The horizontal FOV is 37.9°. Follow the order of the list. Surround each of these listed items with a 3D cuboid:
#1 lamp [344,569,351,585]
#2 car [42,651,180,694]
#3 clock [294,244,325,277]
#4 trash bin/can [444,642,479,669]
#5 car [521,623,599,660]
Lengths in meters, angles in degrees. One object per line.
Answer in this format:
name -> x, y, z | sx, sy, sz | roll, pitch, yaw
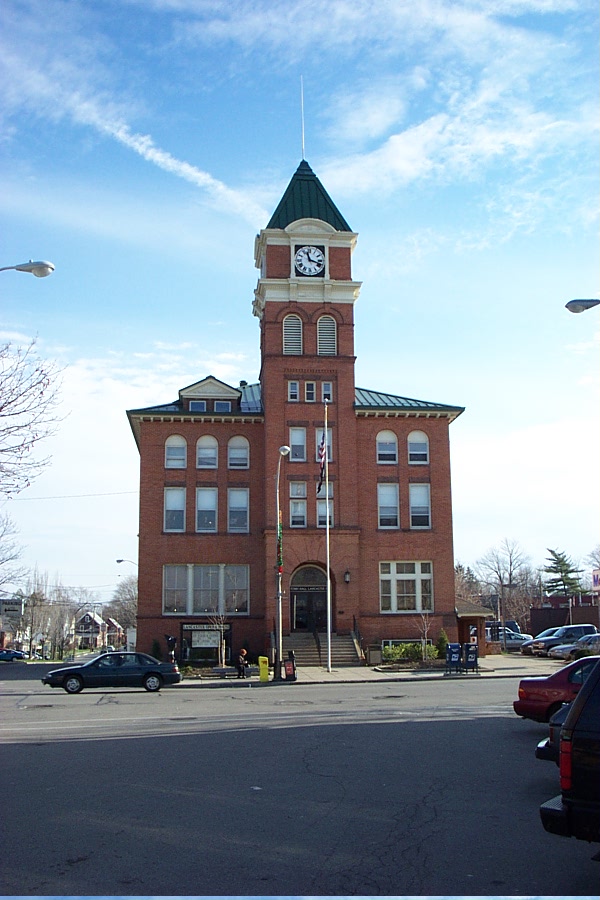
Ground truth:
lamp -> 2.392, 6.304, 43.057 | 0.370, 0.647, 0.258 | -1, -9, -3
car -> -5.987, 7.286, 28.611 | 3.928, 1.256, 0.608 | 0, -10, -10
clock -> 0.497, -9.956, 46.145 | 1.932, 1.807, 0.259 | 0, -6, -1
trash bin/can -> 6.279, 8.022, 33.881 | 1.528, 1.273, 0.955 | 0, -2, 2
car -> 13.281, 9.642, 43.632 | 2.257, 1.680, 7.915 | -1, -9, 0
